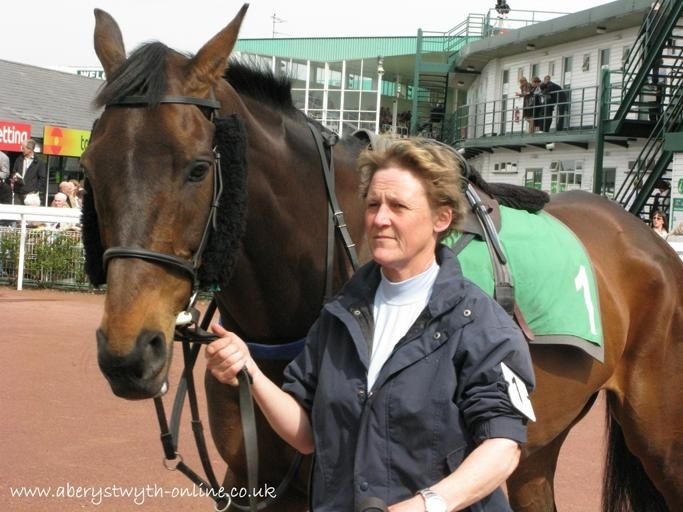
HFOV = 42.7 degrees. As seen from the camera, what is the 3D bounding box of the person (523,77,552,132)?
[{"bbox_3d":[4.593,-3.542,20.724,0.581,1.655,0.521,-3,-30,19],"label":"person"}]
